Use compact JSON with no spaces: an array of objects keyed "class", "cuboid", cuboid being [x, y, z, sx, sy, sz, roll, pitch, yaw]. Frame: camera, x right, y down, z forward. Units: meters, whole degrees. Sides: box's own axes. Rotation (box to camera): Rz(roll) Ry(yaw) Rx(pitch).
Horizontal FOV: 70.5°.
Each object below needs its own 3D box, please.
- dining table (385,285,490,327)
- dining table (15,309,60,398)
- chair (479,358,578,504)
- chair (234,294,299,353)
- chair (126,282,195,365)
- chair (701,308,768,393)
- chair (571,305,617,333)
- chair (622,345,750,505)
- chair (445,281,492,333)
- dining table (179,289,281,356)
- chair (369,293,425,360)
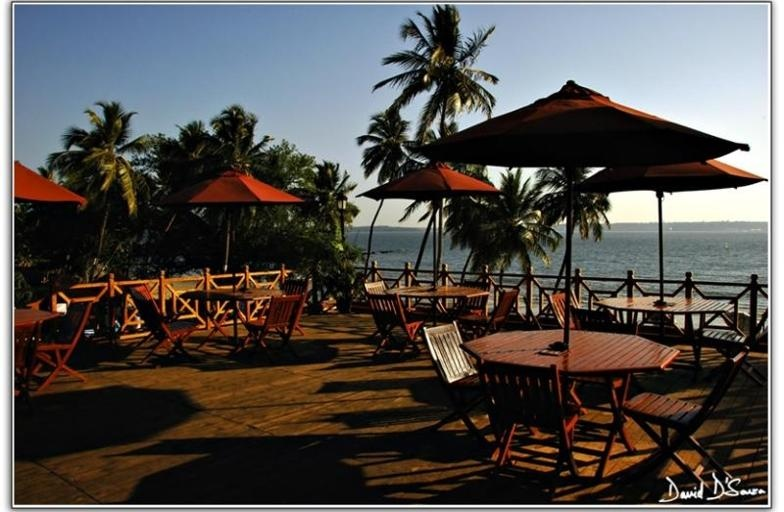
[{"class":"dining table","cuboid":[0.786,1.028,10.664,1.273,0.624,1.282,-1,-3,-21]},{"class":"dining table","cuboid":[-5.279,1.429,8.171,0.479,1.266,0.831,2,1,-33]},{"class":"chair","cuboid":[1.700,1.809,6.459,1.284,1.412,1.336,-5,5,12]},{"class":"chair","cuboid":[-2.232,1.097,10.096,1.025,1.000,0.945,9,6,3]},{"class":"chair","cuboid":[-4.306,1.203,10.294,1.050,1.318,1.477,2,1,-26]},{"class":"chair","cuboid":[5.563,1.338,8.910,1.231,1.375,0.931,4,6,32]},{"class":"chair","cuboid":[3.136,0.964,8.631,0.651,0.329,0.653,3,1,20]},{"class":"chair","cuboid":[3.450,1.875,6.546,1.564,1.477,1.459,-2,5,8]},{"class":"chair","cuboid":[1.549,0.938,10.705,0.842,1.244,1.037,-3,-6,41]},{"class":"dining table","cuboid":[-3.279,1.129,10.506,1.623,0.841,1.492,3,-12,-18]},{"class":"chair","cuboid":[0.138,1.251,10.853,1.229,1.379,1.036,2,-3,-42]}]
